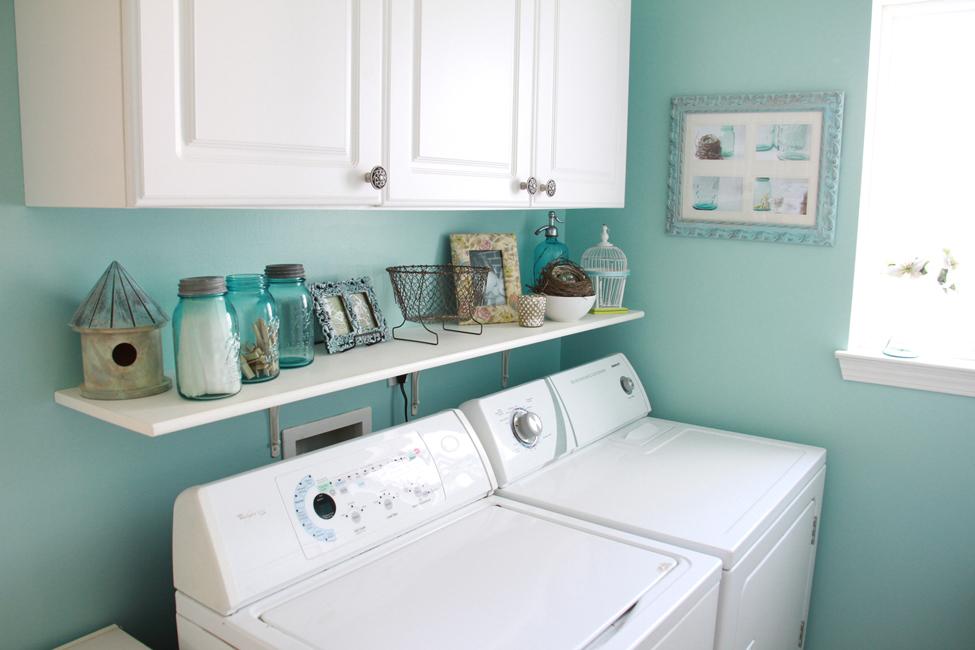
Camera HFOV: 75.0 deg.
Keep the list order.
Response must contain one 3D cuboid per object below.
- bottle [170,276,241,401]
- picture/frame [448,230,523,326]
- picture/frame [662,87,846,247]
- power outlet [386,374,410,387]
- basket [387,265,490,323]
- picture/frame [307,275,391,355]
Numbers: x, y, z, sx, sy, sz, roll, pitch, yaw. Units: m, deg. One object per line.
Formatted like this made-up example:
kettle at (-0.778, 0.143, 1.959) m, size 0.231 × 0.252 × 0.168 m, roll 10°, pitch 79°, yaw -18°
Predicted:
bottle at (-0.658, 0.030, 1.486) m, size 0.144 × 0.277 × 0.093 m, roll -9°, pitch 15°, yaw -26°
picture/frame at (-0.019, -0.157, 2.254) m, size 0.029 × 0.401 × 0.344 m, roll -20°, pitch -16°, yaw 39°
picture/frame at (1.036, -0.611, 2.420) m, size 0.623 × 0.565 × 0.050 m, roll 3°, pitch 3°, yaw 29°
power outlet at (-0.307, 0.190, 2.186) m, size 0.052 × 0.049 × 0.012 m, roll 1°, pitch 6°, yaw -45°
basket at (-0.159, -0.104, 2.106) m, size 0.234 × 0.120 × 0.230 m, roll 3°, pitch 5°, yaw 11°
picture/frame at (-0.426, -0.026, 1.912) m, size 0.019 × 0.200 × 0.236 m, roll -20°, pitch -5°, yaw 32°
